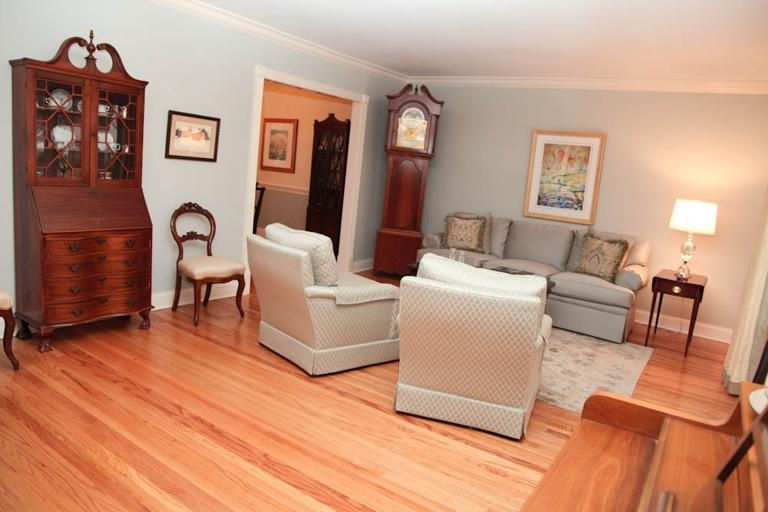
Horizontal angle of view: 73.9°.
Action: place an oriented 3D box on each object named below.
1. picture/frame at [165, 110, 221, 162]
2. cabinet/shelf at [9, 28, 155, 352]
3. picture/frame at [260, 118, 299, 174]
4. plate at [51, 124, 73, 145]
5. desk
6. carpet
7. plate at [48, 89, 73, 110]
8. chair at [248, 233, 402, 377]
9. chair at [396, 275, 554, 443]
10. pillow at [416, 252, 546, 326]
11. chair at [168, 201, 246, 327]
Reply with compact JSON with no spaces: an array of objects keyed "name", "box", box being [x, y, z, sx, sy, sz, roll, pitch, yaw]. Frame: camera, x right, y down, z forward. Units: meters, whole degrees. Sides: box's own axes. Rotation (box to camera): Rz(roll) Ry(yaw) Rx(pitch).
[{"name":"picture/frame","box":[-2.117,-1.319,5.546,0.027,0.517,0.637,18,17,35]},{"name":"cabinet/shelf","box":[-2.719,-0.586,4.597,1.099,2.763,0.673,-3,16,-36]},{"name":"picture/frame","box":[-1.913,-2.044,9.416,0.936,1.023,0.039,19,15,38]},{"name":"plate","box":[-2.855,-1.057,4.495,0.033,0.193,0.155,16,16,35]},{"name":"desk","box":[3.494,0.621,6.131,0.541,0.867,1.167,15,15,32]},{"name":"carpet","box":[2.088,1.138,5.203,0.700,0.011,1.143,8,17,29]},{"name":"plate","box":[-2.817,-1.359,4.437,0.172,0.155,0.118,12,4,-42]},{"name":"chair","box":[-0.567,0.351,4.987,1.313,1.309,1.346,-8,16,-39]},{"name":"chair","box":[0.678,0.594,4.289,1.292,1.216,1.208,8,14,24]},{"name":"pillow","box":[0.691,0.152,3.704,0.928,0.162,0.278,9,12,14]},{"name":"chair","box":[-1.964,0.038,5.594,0.615,1.174,0.846,-6,18,-43]}]
